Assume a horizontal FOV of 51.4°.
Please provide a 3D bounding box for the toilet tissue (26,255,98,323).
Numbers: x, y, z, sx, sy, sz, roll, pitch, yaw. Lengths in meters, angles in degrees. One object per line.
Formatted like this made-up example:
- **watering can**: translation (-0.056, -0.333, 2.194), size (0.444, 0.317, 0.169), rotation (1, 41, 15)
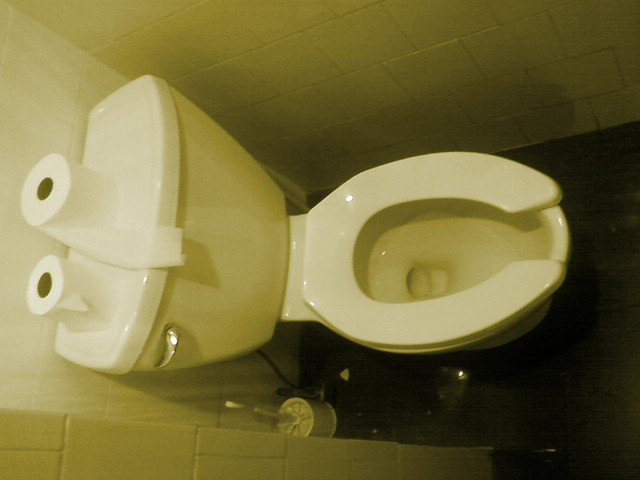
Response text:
- **toilet tissue**: translation (-0.528, 0.109, 1.500), size (0.204, 0.132, 0.175), rotation (3, 24, 3)

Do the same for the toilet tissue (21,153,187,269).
- **toilet tissue**: translation (-0.499, -0.044, 1.527), size (0.130, 0.531, 0.165), rotation (140, 140, -82)

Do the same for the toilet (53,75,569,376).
- **toilet**: translation (-0.057, 0.031, 1.653), size (1.572, 0.746, 0.571), rotation (-1, 75, 13)
